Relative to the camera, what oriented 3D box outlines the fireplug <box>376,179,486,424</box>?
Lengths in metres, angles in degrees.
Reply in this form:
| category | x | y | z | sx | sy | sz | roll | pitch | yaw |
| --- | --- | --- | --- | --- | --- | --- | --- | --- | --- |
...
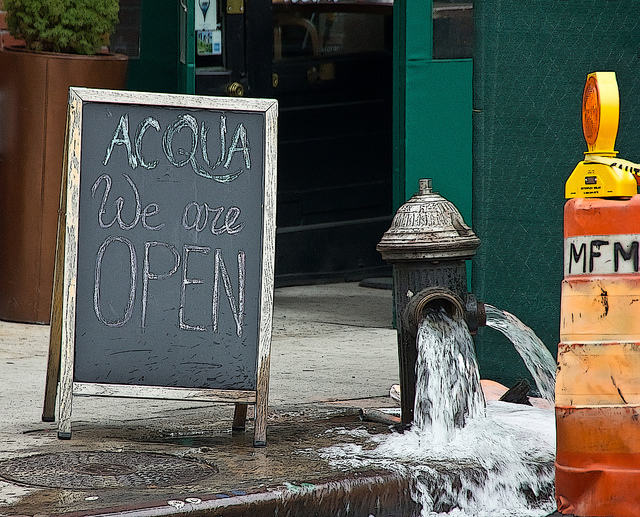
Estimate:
| category | x | y | z | sx | sy | sz | roll | pitch | yaw |
| --- | --- | --- | --- | --- | --- | --- | --- | --- | --- |
| fireplug | 0.551 | 0.219 | 5.055 | 0.549 | 1.211 | 0.300 | 2 | 5 | 9 |

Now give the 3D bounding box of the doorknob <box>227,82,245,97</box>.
| category | x | y | z | sx | sy | sz | roll | pitch | yaw |
| --- | --- | --- | --- | --- | --- | --- | --- | --- | --- |
| doorknob | -0.680 | -1.383 | 8.382 | 0.058 | 0.147 | 0.149 | -10 | 12 | 41 |
